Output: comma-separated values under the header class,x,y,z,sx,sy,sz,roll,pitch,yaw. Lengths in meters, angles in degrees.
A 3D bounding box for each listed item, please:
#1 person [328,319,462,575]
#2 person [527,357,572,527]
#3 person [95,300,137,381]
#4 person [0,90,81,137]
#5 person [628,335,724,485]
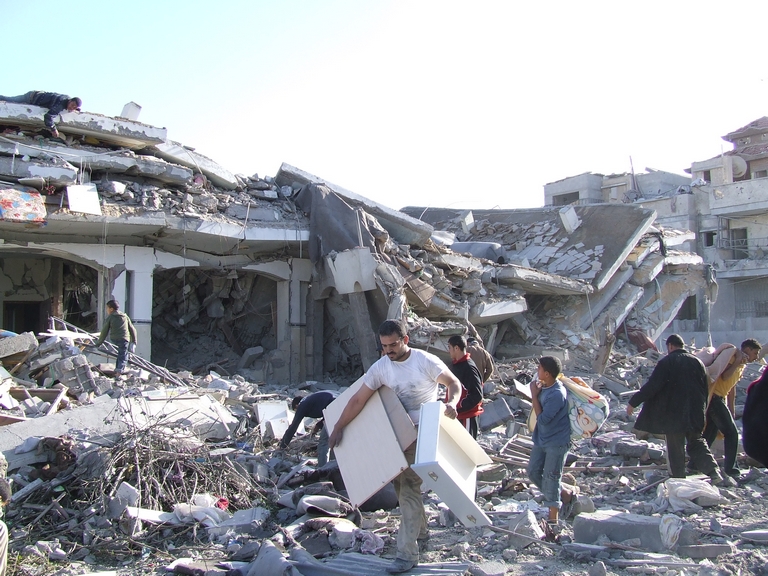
class,x,y,z,sx,sy,sz,roll,pitch,yaw
person,0.087,1.195,4.992,0.983,1.896,0.358,-2,-5,-5
person,1.434,1.354,5.829,0.352,1.471,0.424,-2,-5,-5
person,-4.180,0.815,10.288,0.556,1.230,1.187,0,-6,-23
person,-5.975,-3.205,11.596,1.166,0.825,0.661,0,-6,-25
person,2.858,1.244,6.655,1.030,1.532,0.532,1,-7,-37
